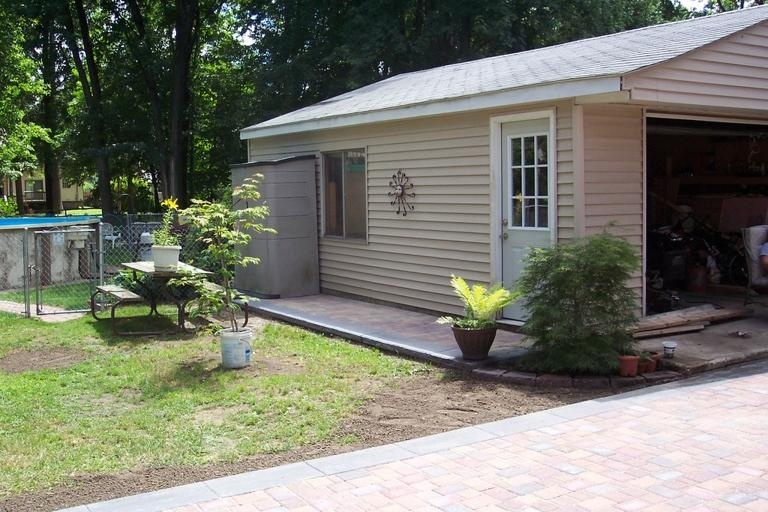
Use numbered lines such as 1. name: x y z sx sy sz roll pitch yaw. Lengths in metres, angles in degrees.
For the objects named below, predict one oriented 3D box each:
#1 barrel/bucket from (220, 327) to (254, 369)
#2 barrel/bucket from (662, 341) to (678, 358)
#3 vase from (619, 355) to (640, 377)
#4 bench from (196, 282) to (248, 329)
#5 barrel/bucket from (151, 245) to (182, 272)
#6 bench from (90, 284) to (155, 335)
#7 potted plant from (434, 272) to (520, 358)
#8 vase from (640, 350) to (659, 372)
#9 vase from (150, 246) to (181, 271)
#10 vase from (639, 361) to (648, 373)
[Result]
1. barrel/bucket: -1.964 1.254 8.676 0.539 0.453 0.532 -1 0 0
2. barrel/bucket: 3.786 1.222 8.271 0.230 0.183 0.221 -1 0 0
3. vase: 2.990 1.347 7.723 0.278 0.195 0.241 2 -3 -10
4. bench: -2.545 0.809 9.860 0.970 0.596 0.895 3 5 15
5. barrel/bucket: -3.440 0.043 10.106 0.487 0.295 0.452 1 1 0
6. bench: -4.684 0.854 10.974 0.670 0.653 2.340 -1 4 -28
7. potted plant: 1.284 0.850 8.386 1.043 0.926 1.191 -5 13 -36
8. vase: 3.326 1.320 7.953 0.288 0.172 0.244 -1 -1 -5
9. vase: -3.473 0.035 9.999 0.481 0.289 0.433 0 -1 -8
10. vase: 3.229 1.372 7.852 0.166 0.100 0.148 -2 1 16
